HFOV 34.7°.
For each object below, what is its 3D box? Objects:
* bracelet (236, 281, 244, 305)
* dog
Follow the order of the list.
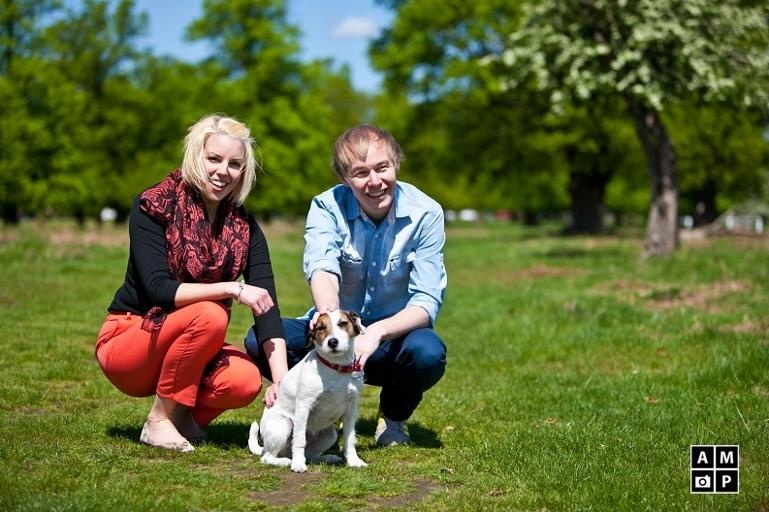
[{"bbox_3d":[-1.675,0.416,14.150,0.065,0.175,0.134,11,6,-13],"label":"bracelet"},{"bbox_3d":[-0.850,1.544,14.256,1.256,1.849,0.622,0,-2,29],"label":"dog"}]
